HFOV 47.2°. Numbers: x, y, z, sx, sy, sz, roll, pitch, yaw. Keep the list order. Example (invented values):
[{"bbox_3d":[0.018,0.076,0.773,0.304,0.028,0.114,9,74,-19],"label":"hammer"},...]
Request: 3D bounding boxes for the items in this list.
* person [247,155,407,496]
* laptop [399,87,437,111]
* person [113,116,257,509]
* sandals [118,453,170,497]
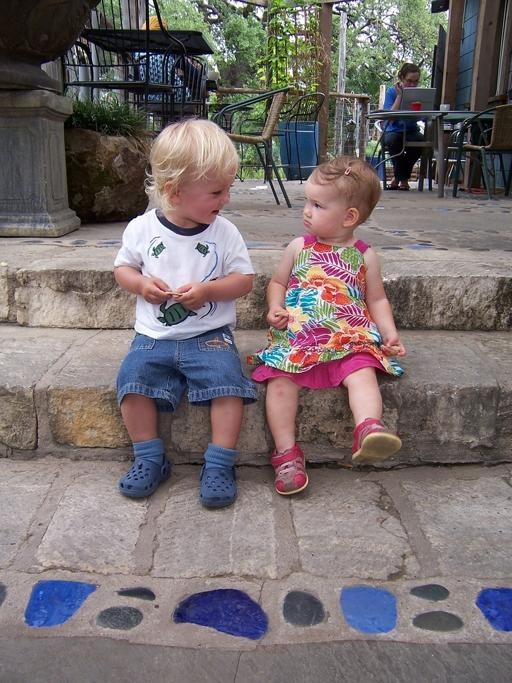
[{"bbox_3d":[0.189,-0.067,1.527,0.400,0.788,0.539,0,19,-1],"label":"person"},{"bbox_3d":[1.665,-2.492,6.053,0.332,0.252,0.432,4,18,12],"label":"laptop"},{"bbox_3d":[-0.184,-0.087,1.452,0.359,0.888,0.527,-1,19,-3],"label":"person"},{"bbox_3d":[-0.265,0.323,1.408,0.058,0.051,0.125,3,9,17],"label":"sandals"}]
